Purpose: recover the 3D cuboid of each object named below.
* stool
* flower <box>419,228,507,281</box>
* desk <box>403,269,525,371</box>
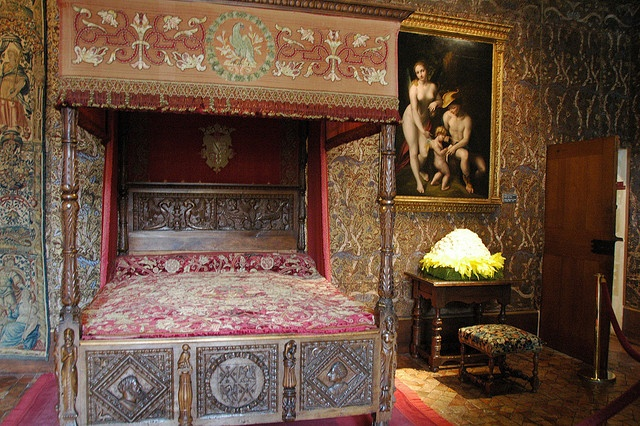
[{"bbox_3d":[2.365,1.912,7.768,0.854,0.775,0.852,1,2,-12],"label":"stool"},{"bbox_3d":[1.980,0.631,8.211,0.755,0.453,0.799,0,-3,-4],"label":"flower"},{"bbox_3d":[1.984,1.551,8.425,1.297,1.345,0.936,2,2,-15],"label":"desk"}]
